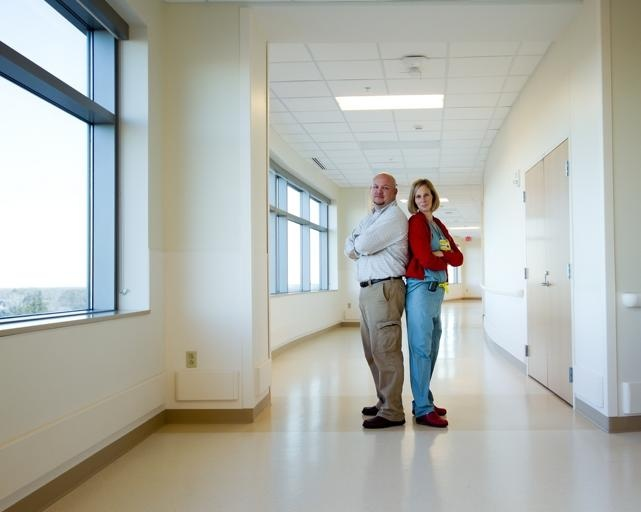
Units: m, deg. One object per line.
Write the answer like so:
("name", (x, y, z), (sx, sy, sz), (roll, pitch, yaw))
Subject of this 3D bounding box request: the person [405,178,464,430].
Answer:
("person", (0.885, 0.351, 3.729), (0.444, 1.952, 0.367), (-1, -2, -32))

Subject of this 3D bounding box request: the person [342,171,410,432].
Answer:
("person", (0.468, 0.317, 3.784), (0.513, 2.039, 0.419), (-2, -1, 5))

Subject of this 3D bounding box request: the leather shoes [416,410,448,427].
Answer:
("leather shoes", (0.899, 1.271, 3.651), (0.200, 0.094, 0.109), (-6, -7, 29))

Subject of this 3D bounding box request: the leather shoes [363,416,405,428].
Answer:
("leather shoes", (0.505, 1.268, 3.654), (0.305, 0.141, 0.122), (3, -5, -4))
